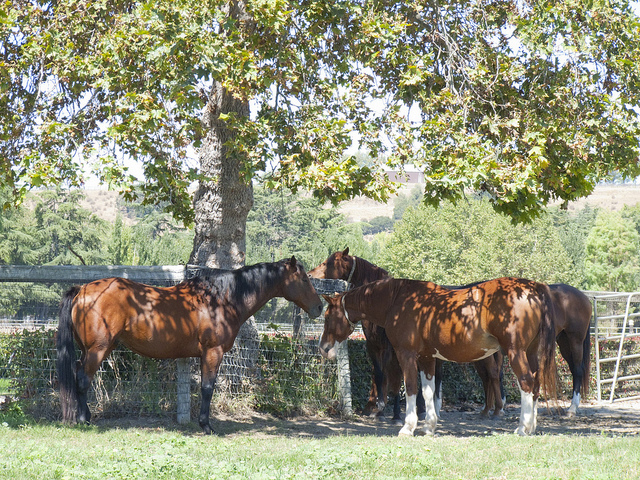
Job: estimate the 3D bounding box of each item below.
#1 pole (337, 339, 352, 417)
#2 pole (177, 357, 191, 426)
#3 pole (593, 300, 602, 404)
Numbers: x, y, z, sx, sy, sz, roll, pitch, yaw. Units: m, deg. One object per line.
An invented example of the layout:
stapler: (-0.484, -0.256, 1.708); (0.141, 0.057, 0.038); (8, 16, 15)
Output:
pole: (0.520, 2.977, 23.340); (0.332, 1.643, 0.495); (2, -6, -28)
pole: (-2.791, 3.028, 21.712); (0.265, 1.308, 0.435); (0, -5, -8)
pole: (6.772, 2.771, 26.526); (0.240, 2.703, 0.266); (-2, -4, 9)
